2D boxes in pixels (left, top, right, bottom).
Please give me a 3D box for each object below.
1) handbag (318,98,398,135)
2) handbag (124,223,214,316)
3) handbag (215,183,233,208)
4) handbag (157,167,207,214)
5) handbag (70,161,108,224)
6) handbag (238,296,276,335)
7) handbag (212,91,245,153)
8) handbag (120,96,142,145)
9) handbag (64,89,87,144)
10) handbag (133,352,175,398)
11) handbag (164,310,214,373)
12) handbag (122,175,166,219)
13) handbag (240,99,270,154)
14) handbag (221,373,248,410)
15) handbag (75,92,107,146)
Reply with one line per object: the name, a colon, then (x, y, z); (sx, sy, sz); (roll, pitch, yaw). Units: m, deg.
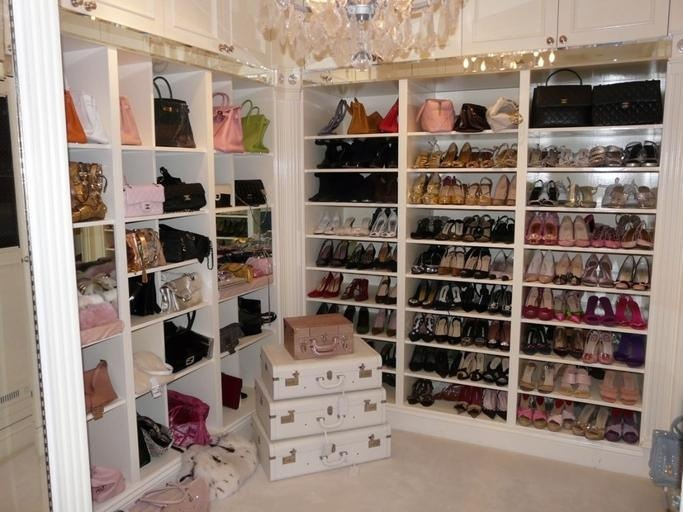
handbag: (0.193, -1.147, 4.236); (0.386, 0.201, 0.521); (1, 16, 12)
handbag: (-1.197, 0.078, 3.389); (0.265, 0.579, 0.658); (5, 13, 22)
handbag: (-0.902, -0.459, 3.827); (0.139, 0.177, 0.239); (2, 6, 18)
handbag: (-1.095, -0.446, 3.452); (0.160, 0.309, 0.306); (-7, 3, 31)
handbag: (-1.441, -0.365, 2.849); (0.064, 0.328, 0.241); (6, 13, 26)
handbag: (-0.703, 0.521, 4.335); (0.329, 0.244, 0.250); (2, 3, 6)
handbag: (-0.862, -0.992, 3.762); (0.212, 0.460, 0.485); (-5, 14, -31)
handbag: (-1.330, -0.833, 3.090); (0.090, 0.291, 0.184); (4, 12, 16)
handbag: (-1.454, -0.759, 2.733); (0.087, 0.280, 0.134); (-5, 13, -27)
handbag: (-1.232, 0.748, 3.270); (0.231, 0.203, 0.208); (-4, 13, -22)
handbag: (-1.127, 0.584, 3.628); (0.358, 0.382, 0.368); (2, 1, 37)
handbag: (-1.249, -0.366, 3.154); (0.097, 0.190, 0.254); (8, 13, 31)
handbag: (-0.707, -1.054, 4.060); (0.173, 0.440, 0.427); (-6, 11, -35)
handbag: (-0.899, 1.105, 4.121); (0.230, 0.257, 0.062); (9, 4, 10)
handbag: (-1.432, -0.779, 2.862); (0.068, 0.250, 0.189); (-13, 9, 11)
